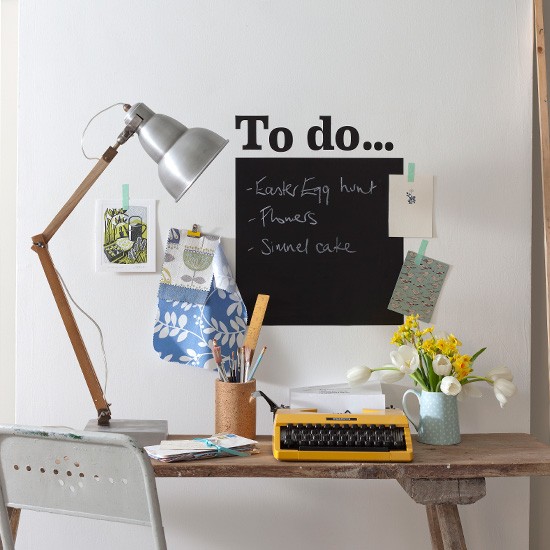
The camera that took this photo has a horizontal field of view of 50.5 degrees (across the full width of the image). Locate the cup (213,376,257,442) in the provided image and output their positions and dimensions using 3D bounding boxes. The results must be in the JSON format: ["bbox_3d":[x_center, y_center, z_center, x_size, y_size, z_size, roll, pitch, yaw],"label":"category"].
[{"bbox_3d":[-0.111,0.367,1.607,0.102,0.172,0.139,2,-8,-5],"label":"cup"}]

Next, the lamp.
[{"bbox_3d":[-0.388,-0.011,1.630,0.556,0.918,0.259,1,2,11],"label":"lamp"}]

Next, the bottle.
[{"bbox_3d":[0.428,0.390,1.650,0.164,0.182,0.115,-1,-2,32],"label":"bottle"}]

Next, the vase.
[{"bbox_3d":[0.433,0.384,1.654,0.149,0.179,0.144,0,-6,2],"label":"vase"}]

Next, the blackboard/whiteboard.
[{"bbox_3d":[0.135,-0.106,1.816,0.516,0.519,0.017,1,2,0],"label":"blackboard/whiteboard"}]

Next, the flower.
[{"bbox_3d":[0.463,0.253,1.717,0.435,0.286,0.373,2,2,24],"label":"flower"}]
